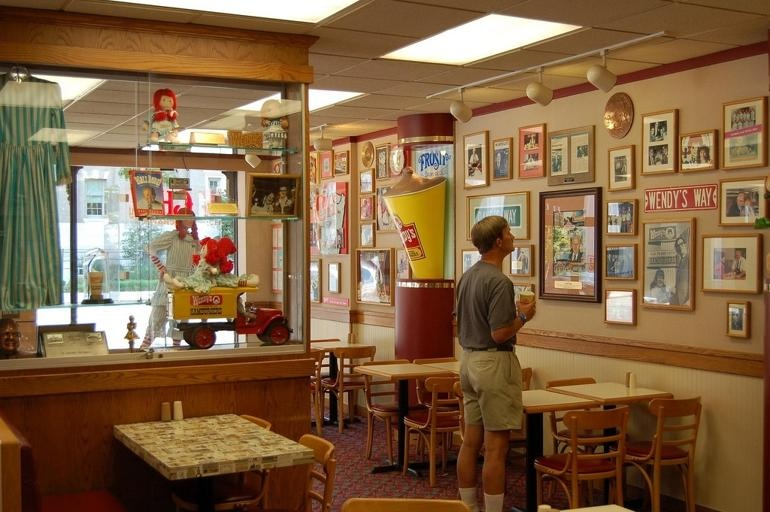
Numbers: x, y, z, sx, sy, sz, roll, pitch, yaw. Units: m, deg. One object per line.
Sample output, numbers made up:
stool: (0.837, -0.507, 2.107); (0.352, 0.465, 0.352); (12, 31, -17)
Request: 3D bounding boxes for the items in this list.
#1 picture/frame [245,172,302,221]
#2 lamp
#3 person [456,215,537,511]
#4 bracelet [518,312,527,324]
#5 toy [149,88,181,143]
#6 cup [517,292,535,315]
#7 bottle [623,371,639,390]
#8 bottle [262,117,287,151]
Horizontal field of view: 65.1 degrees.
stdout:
picture/frame: (-0.953, -0.509, 5.077); (0.438, 0.347, 0.043); (0, 0, -27)
lamp: (1.488, -1.693, 6.128); (1.610, 0.363, 0.283); (-8, 6, 21)
person: (0.915, 0.929, 5.290); (0.628, 2.525, 0.387); (6, 1, 41)
bracelet: (1.175, 0.532, 5.167); (0.078, 0.079, 0.082); (31, -16, -28)
toy: (-1.716, -1.101, 4.734); (0.218, 0.372, 0.209); (4, 1, -22)
cup: (1.213, 0.398, 5.179); (0.139, 0.175, 0.119); (5, 1, 10)
bottle: (2.513, 1.261, 6.174); (0.078, 0.178, 0.245); (5, 1, 10)
bottle: (-0.911, -1.024, 5.066); (0.220, 0.240, 0.020); (4, 1, -34)
